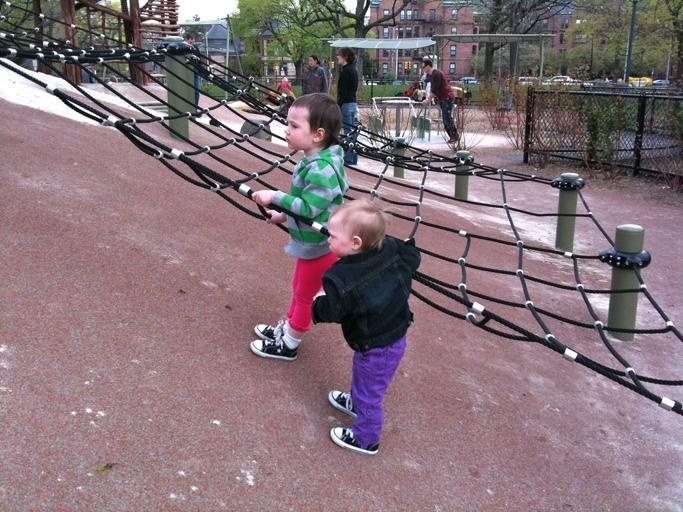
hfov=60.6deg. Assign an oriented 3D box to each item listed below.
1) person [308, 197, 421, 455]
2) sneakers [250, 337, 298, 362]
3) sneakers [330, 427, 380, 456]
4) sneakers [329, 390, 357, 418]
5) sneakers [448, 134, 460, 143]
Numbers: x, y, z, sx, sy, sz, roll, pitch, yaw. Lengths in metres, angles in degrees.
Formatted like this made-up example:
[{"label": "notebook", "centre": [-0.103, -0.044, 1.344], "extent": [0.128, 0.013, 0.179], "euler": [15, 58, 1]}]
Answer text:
[{"label": "person", "centre": [0.131, 0.326, 2.712], "extent": [0.543, 1.153, 0.300], "euler": [-13, 23, -36]}, {"label": "sneakers", "centre": [-0.361, 0.506, 3.218], "extent": [0.268, 0.125, 0.114], "euler": [16, 22, -19]}, {"label": "sneakers", "centre": [0.062, 0.867, 2.790], "extent": [0.242, 0.106, 0.102], "euler": [25, -6, 8]}, {"label": "sneakers", "centre": [0.005, 0.735, 2.931], "extent": [0.180, 0.079, 0.067], "euler": [33, 18, 32]}, {"label": "sneakers", "centre": [2.402, -2.516, 12.458], "extent": [0.146, 0.255, 0.245], "euler": [0, 16, 5]}]
